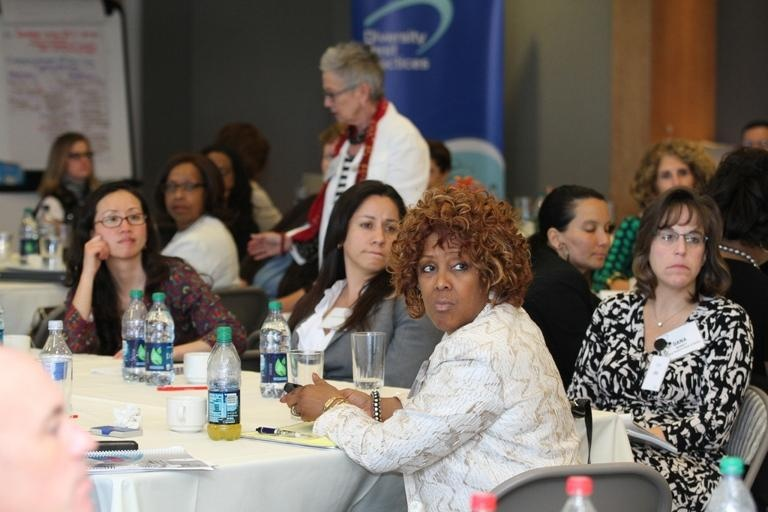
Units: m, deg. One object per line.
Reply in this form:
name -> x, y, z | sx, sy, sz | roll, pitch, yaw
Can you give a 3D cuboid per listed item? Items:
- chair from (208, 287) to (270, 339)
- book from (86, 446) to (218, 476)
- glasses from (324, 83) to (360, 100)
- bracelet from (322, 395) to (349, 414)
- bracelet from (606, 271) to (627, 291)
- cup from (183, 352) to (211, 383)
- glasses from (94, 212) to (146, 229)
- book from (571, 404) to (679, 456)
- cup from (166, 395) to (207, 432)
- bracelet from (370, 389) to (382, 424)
chair -> -0.773, 0.332, 4.201 | 0.268, 0.324, 0.273 | -5, -9, 11
book -> -0.573, 0.502, 1.842 | 0.293, 0.051, 0.154 | -1, -1, -17
glasses -> -0.249, -0.936, 4.269 | 0.217, 0.064, 0.045 | -1, 0, 32
bracelet -> -0.136, 0.421, 2.128 | 0.054, 0.021, 0.046 | -18, -26, -39
bracelet -> 1.551, 0.178, 4.944 | 0.131, 0.070, 0.127 | -21, 27, -20
cup -> -0.654, 0.404, 2.675 | 0.122, 0.086, 0.118 | 1, -7, 0
glasses -> -1.178, -0.156, 3.350 | 0.196, 0.077, 0.074 | -1, 0, -24
book -> 0.798, 0.541, 2.481 | 0.232, 0.084, 0.344 | 0, 8, -27
cup -> -0.553, 0.447, 2.101 | 0.091, 0.076, 0.118 | -1, -8, -1
bracelet -> -0.019, 0.455, 2.248 | 0.025, 0.063, 0.053 | -11, -16, 1
